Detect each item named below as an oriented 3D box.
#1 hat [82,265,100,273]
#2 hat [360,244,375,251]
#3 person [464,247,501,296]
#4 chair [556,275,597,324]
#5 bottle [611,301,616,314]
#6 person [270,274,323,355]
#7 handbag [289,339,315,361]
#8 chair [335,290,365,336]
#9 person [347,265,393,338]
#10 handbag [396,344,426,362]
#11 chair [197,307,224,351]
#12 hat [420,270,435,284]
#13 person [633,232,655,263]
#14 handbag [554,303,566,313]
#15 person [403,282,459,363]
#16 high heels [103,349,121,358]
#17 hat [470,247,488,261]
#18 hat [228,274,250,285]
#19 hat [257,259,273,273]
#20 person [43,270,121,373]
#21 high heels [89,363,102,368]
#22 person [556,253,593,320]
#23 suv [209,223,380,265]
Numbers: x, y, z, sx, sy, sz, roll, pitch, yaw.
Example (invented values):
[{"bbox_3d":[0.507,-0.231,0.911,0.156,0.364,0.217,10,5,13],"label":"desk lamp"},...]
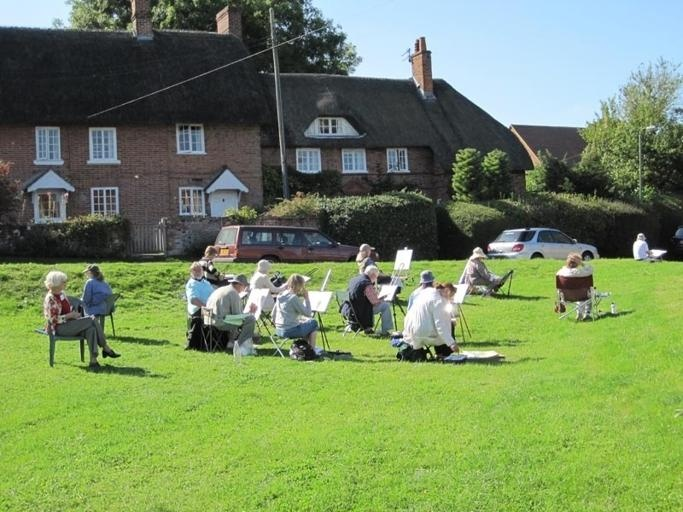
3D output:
[{"bbox_3d":[-5.900,0.300,17.997,0.269,0.164,0.381,-3,4,-38],"label":"hat"},{"bbox_3d":[0.777,-0.274,23.076,0.331,0.191,0.228,-22,16,-34],"label":"hat"},{"bbox_3d":[4.032,0.425,21.991,1.051,1.388,0.890,1,8,9],"label":"person"},{"bbox_3d":[5.820,0.941,18.804,0.875,1.503,1.062,1,6,24],"label":"chair"},{"bbox_3d":[6.617,1.263,18.605,0.212,0.239,0.133,5,11,35],"label":"bottle"},{"bbox_3d":[-0.863,1.221,15.498,1.011,1.778,0.795,-9,11,-23],"label":"person"},{"bbox_3d":[-0.748,1.829,15.009,0.484,0.298,0.622,-5,10,-27],"label":"handbag"},{"bbox_3d":[0.284,1.264,17.110,0.597,0.839,0.590,-13,-22,-2],"label":"chair"},{"bbox_3d":[0.616,0.998,17.038,0.982,1.625,0.937,-8,11,-42],"label":"person"},{"bbox_3d":[1.373,1.855,14.711,0.412,0.191,0.312,4,-4,-22],"label":"handbag"},{"bbox_3d":[-2.642,1.587,15.811,0.555,0.647,0.360,-1,8,-7],"label":"chair"},{"bbox_3d":[1.777,0.434,15.893,0.228,0.161,0.294,-2,0,4],"label":"hat"},{"bbox_3d":[10.905,-0.517,27.447,0.644,0.920,3.359,3,9,23],"label":"person"},{"bbox_3d":[5.464,1.316,19.061,0.234,0.241,0.225,2,-30,-4],"label":"handbag"},{"bbox_3d":[1.737,1.310,14.656,0.905,1.200,0.871,-20,31,-32],"label":"person"},{"bbox_3d":[-4.387,1.885,14.651,0.353,0.165,0.182,2,11,-21],"label":"high heels"},{"bbox_3d":[4.685,-0.087,25.903,0.500,0.284,0.519,0,2,-3],"label":"hat"},{"bbox_3d":[-2.176,0.502,16.288,0.323,0.151,0.374,1,-8,36],"label":"hat"},{"bbox_3d":[-1.671,0.273,16.985,0.333,0.096,0.302,7,28,29],"label":"hat"},{"bbox_3d":[-4.990,1.181,14.374,1.057,1.798,0.493,0,8,1],"label":"person"},{"bbox_3d":[-4.618,2.060,14.402,0.270,0.119,0.100,-3,1,33],"label":"high heels"},{"bbox_3d":[5.804,0.759,18.727,0.729,1.774,0.567,-1,31,35],"label":"person"},{"bbox_3d":[-2.091,-0.387,27.255,4.028,1.414,2.037,-3,4,-21],"label":"suv"}]
